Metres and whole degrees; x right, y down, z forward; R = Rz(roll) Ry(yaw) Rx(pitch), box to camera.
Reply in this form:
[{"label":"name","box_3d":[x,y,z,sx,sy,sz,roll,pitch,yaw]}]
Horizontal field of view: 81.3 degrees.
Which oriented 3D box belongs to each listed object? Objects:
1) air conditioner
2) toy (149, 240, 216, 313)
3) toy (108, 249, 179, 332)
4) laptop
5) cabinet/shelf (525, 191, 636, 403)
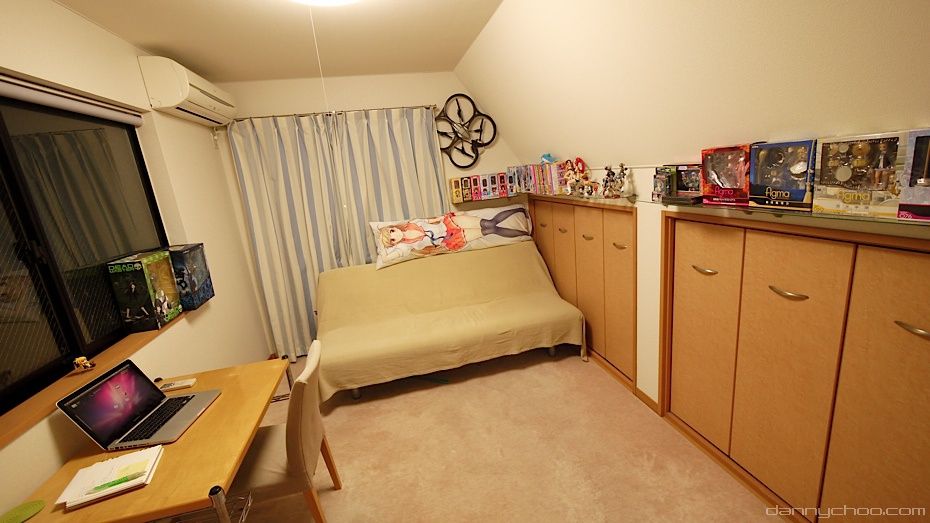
[{"label":"air conditioner","box_3d":[-2.218,-1.351,4.490,0.292,0.350,0.820,10,3,2]},{"label":"toy","box_3d":[-2.160,0.112,4.233,0.169,0.431,0.462,-8,11,-11]},{"label":"toy","box_3d":[-2.277,0.214,3.799,0.316,0.380,0.577,-13,5,-15]},{"label":"laptop","box_3d":[-1.960,0.943,3.322,0.620,0.344,0.581,-9,22,15]},{"label":"cabinet/shelf","box_3d":[1.005,0.344,4.561,0.592,1.360,1.558,-8,17,-25]}]
